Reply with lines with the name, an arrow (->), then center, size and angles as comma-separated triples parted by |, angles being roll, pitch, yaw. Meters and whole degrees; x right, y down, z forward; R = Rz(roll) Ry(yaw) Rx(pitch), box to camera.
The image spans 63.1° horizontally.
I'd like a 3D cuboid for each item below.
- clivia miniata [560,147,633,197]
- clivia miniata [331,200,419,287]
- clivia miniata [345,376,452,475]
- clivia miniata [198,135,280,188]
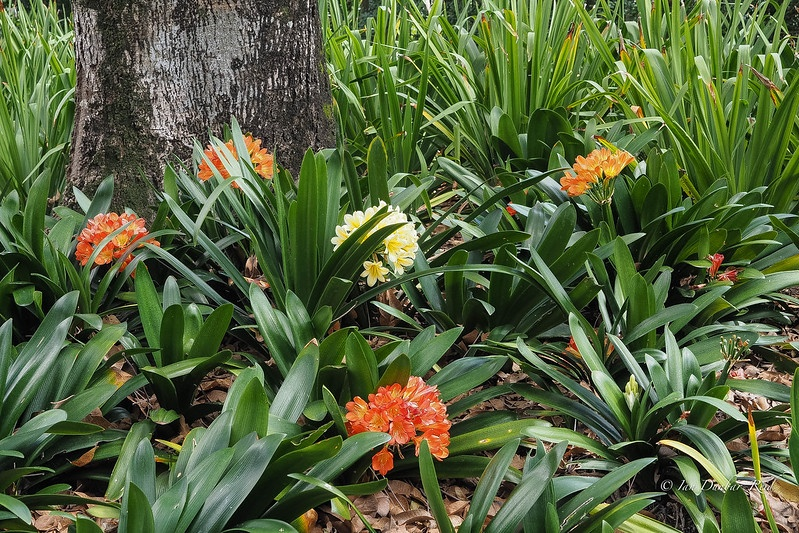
clivia miniata -> 0.815, -0.383, 2.691 | 0.270, 0.204, 0.084 | 1, 27, -2
clivia miniata -> -0.054, -0.119, 2.601 | 0.315, 0.327, 0.294 | -21, 29, 17
clivia miniata -> -0.002, 0.500, 2.139 | 0.306, 0.236, 0.326 | -13, -19, 26
clivia miniata -> -0.720, -0.453, 2.820 | 0.276, 0.168, 0.312 | 5, 71, 34
